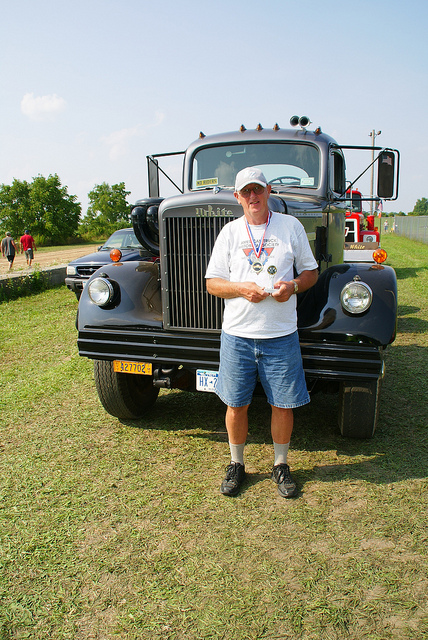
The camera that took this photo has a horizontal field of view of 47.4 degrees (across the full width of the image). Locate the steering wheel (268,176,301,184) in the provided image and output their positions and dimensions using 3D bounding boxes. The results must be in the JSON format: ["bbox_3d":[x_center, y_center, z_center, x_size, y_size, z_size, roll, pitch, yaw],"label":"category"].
[{"bbox_3d":[0.638,-1.275,4.443,0.298,0.068,0.032,-4,10,-10],"label":"steering wheel"}]

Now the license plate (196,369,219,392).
[{"bbox_3d":[-0.042,0.387,3.167,0.156,0.118,0.022,3,8,41],"label":"license plate"}]

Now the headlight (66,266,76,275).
[{"bbox_3d":[-3.153,-1.083,10.630,0.268,0.184,0.116,5,12,36],"label":"headlight"}]

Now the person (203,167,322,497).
[{"bbox_3d":[0.251,0.098,2.650,0.601,1.793,0.313,-1,10,10],"label":"person"}]

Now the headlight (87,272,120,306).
[{"bbox_3d":[-0.824,-0.212,3.613,0.156,0.154,0.253,9,3,2],"label":"headlight"}]

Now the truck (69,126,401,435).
[{"bbox_3d":[0.615,-0.673,5.122,2.286,2.417,4.466,1,9,18],"label":"truck"}]

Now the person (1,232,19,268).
[{"bbox_3d":[-7.532,-2.537,17.750,0.459,1.260,1.260,-7,10,-24],"label":"person"}]

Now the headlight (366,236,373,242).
[{"bbox_3d":[3.914,-2.025,12.213,0.168,0.171,0.039,3,7,9],"label":"headlight"}]
